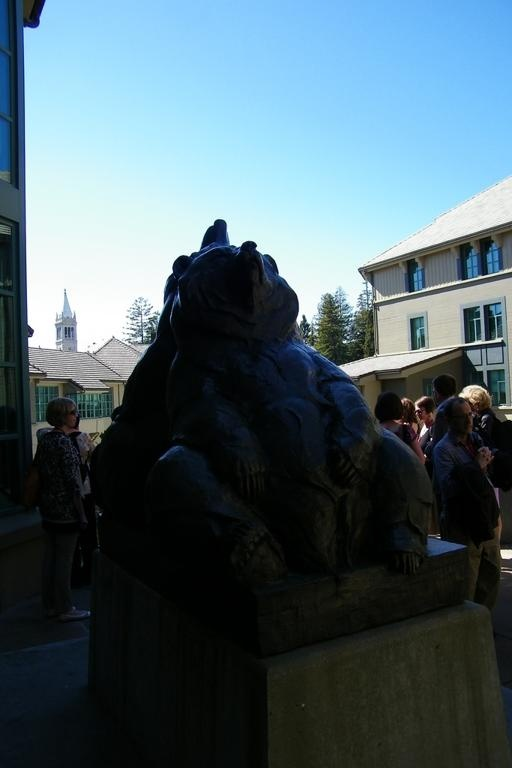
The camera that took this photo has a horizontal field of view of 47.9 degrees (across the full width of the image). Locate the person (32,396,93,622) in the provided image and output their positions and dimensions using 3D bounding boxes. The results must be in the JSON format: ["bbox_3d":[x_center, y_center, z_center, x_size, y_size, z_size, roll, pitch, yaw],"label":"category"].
[{"bbox_3d":[-1.522,0.961,4.477,0.394,1.687,0.668,-1,2,-20],"label":"person"}]

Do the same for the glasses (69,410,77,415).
[{"bbox_3d":[-1.475,0.228,4.666,0.041,0.047,0.018,-1,5,-6],"label":"glasses"}]

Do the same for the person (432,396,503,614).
[{"bbox_3d":[1.321,0.779,3.617,0.394,1.373,1.119,0,2,17],"label":"person"}]
